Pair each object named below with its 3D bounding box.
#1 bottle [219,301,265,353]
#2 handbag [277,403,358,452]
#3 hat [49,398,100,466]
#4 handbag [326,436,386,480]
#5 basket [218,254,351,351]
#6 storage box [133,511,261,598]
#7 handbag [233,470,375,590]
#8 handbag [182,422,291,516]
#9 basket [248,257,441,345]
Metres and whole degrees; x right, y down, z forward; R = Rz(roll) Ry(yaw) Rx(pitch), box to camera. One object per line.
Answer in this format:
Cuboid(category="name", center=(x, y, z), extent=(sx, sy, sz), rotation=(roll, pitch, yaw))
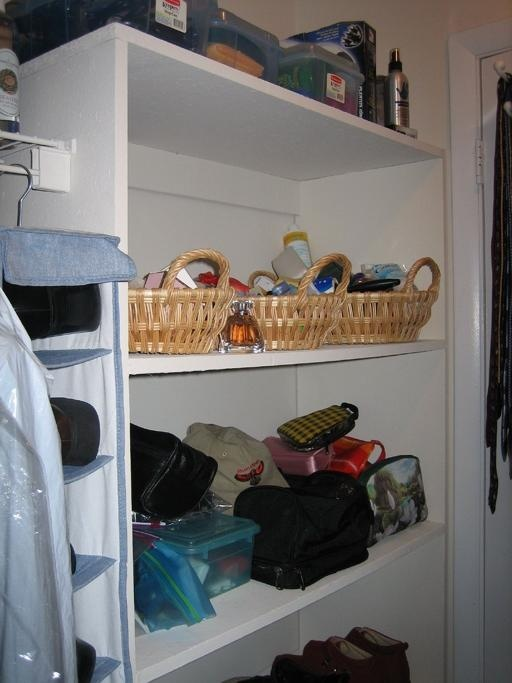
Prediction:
Cuboid(category="bottle", center=(-0.024, -0.023, 0.907), extent=(0.071, 0.098, 0.074), rotation=(0, -1, 0))
Cuboid(category="handbag", center=(0.139, 0.165, 1.236), extent=(0.141, 0.048, 0.101), rotation=(-18, 16, -29))
Cuboid(category="hat", center=(-0.194, 0.096, 0.595), extent=(0.069, 0.071, 0.051), rotation=(-1, 2, 26))
Cuboid(category="handbag", center=(0.224, 0.255, 1.268), extent=(0.097, 0.037, 0.099), rotation=(4, 11, 41))
Cuboid(category="basket", center=(0.063, -0.030, 0.954), extent=(0.184, 0.134, 0.177), rotation=(-5, -7, 44))
Cuboid(category="storage box", center=(-0.075, 0.323, 0.870), extent=(0.156, 0.086, 0.125), rotation=(-2, -3, 44))
Cuboid(category="handbag", center=(0.093, 0.317, 1.016), extent=(0.157, 0.135, 0.208), rotation=(2, 2, 38))
Cuboid(category="handbag", center=(-0.045, 0.219, 1.092), extent=(0.178, 0.093, 0.129), rotation=(33, 21, 19))
Cuboid(category="basket", center=(0.168, -0.050, 1.029), extent=(0.276, 0.125, 0.213), rotation=(3, -3, -40))
